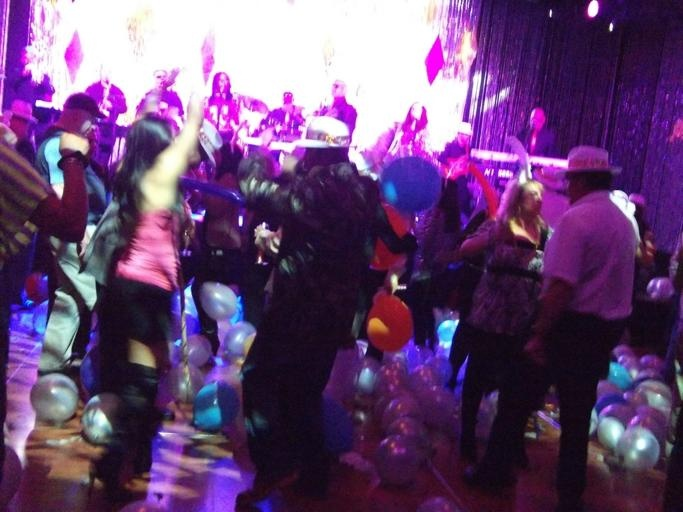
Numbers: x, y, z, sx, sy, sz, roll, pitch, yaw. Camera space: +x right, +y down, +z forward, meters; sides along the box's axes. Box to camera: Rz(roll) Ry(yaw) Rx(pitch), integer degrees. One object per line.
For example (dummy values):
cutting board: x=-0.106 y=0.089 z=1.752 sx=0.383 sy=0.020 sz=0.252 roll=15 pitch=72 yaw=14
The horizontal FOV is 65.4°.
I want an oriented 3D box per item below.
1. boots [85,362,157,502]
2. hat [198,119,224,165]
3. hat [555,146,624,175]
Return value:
boots: x=-1.219 y=1.000 z=2.954 sx=0.337 sy=0.785 sz=0.478 roll=7 pitch=15 yaw=-27
hat: x=-1.101 y=-0.990 z=4.390 sx=0.094 sy=0.352 sz=0.336 roll=-17 pitch=-27 yaw=-2
hat: x=1.465 y=-0.571 z=3.131 sx=0.281 sy=0.182 sz=0.293 roll=7 pitch=0 yaw=17
